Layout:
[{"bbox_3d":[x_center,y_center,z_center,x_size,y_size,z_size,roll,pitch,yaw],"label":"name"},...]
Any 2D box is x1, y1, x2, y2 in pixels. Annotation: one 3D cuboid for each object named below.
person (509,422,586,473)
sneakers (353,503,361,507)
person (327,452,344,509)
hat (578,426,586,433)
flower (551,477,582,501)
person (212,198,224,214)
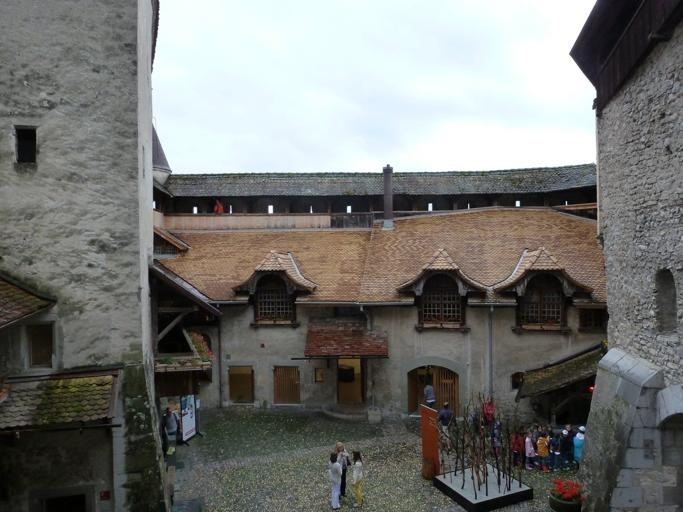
[{"bbox_3d":[8.074,7.427,29.514,2.015,1.547,1.032,-1,11,8],"label":"person"},{"bbox_3d":[0.559,8.880,27.093,0.299,0.092,0.250,-1,11,6],"label":"sneakers"},{"bbox_3d":[-0.223,7.958,27.083,0.466,1.975,0.731,-3,11,-1],"label":"person"},{"bbox_3d":[9.199,6.609,29.085,0.402,0.108,0.408,-3,1,30],"label":"hat"},{"bbox_3d":[7.764,8.037,26.125,0.705,0.347,0.700,-4,7,-17],"label":"flower"},{"bbox_3d":[-6.878,-2.772,42.419,0.587,0.805,2.033,-4,11,-9],"label":"person"}]
